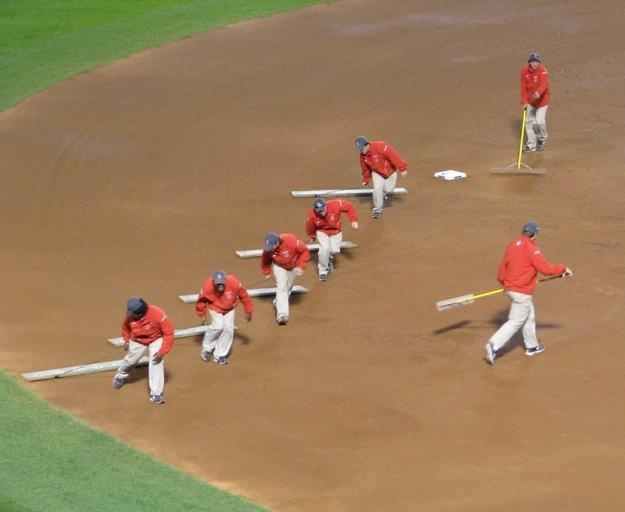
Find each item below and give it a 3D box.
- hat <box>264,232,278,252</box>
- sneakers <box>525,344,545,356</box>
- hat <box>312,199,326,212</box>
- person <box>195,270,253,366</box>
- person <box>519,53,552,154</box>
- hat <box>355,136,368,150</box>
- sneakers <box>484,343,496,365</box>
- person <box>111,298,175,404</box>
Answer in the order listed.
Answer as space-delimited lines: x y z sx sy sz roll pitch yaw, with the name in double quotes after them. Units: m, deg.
-1.050 -0.363 34.333 0.315 0.244 0.464 10 58 18 "hat"
5.503 2.336 33.093 0.512 0.227 0.187 -27 41 -11 "sneakers"
0.197 -1.372 36.124 0.318 0.360 0.425 -8 29 5 "hat"
-2.172 1.459 33.519 1.389 2.414 1.136 -3 17 -16 "person"
6.738 -4.579 40.544 0.893 3.328 0.897 -6 30 10 "person"
1.429 -3.215 38.243 0.315 0.397 0.445 -7 29 7 "hat"
4.352 2.374 32.715 0.255 0.549 0.204 -7 23 19 "sneakers"
-4.062 2.205 32.322 1.533 2.642 0.992 -13 29 -4 "person"
